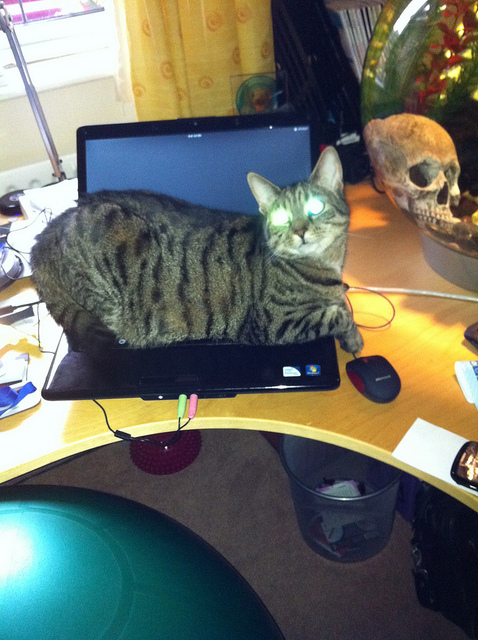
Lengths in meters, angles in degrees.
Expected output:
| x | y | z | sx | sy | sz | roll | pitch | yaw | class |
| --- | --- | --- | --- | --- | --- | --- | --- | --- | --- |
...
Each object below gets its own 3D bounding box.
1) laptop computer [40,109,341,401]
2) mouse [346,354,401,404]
| x | y | z | sx | sy | sz | roll | pitch | yaw | class |
| --- | --- | --- | --- | --- | --- | --- | --- | --- | --- |
| -0.091 | -0.110 | 0.825 | 0.488 | 0.374 | 0.316 | -5 | 30 | 4 | laptop computer |
| 0.204 | 0.081 | 0.779 | 0.069 | 0.035 | 0.114 | -12 | 38 | -23 | mouse |
